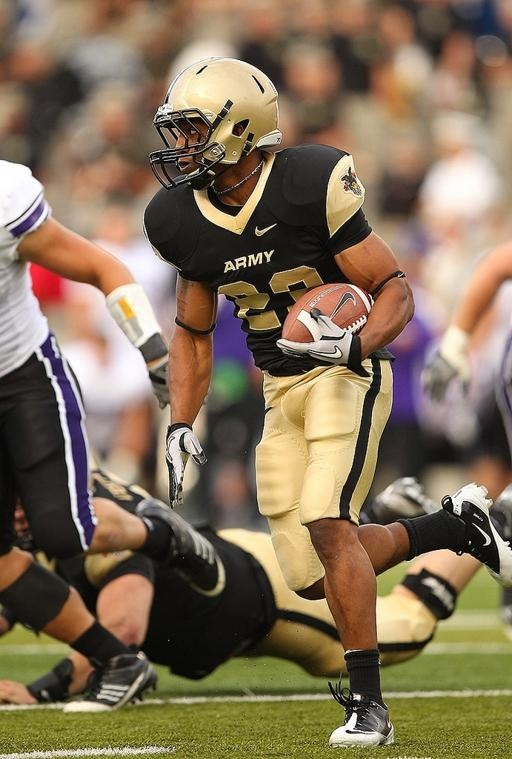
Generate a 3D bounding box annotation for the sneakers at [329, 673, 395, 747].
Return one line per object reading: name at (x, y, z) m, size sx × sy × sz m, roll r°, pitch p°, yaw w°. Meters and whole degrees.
sneakers at (0.173, 0.572, 1.413) m, size 0.080 × 0.175 × 0.109 m, roll -17°, pitch 68°, yaw 33°

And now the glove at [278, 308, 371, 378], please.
glove at (0.118, -0.080, 1.528) m, size 0.157 × 0.133 × 0.137 m, roll -3°, pitch 32°, yaw 2°

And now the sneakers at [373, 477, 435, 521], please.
sneakers at (0.498, 0.414, 2.780) m, size 0.222 × 0.156 × 0.082 m, roll 9°, pitch 47°, yaw -32°

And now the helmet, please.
helmet at (-0.077, -0.556, 1.772) m, size 0.313 × 0.232 × 0.215 m, roll -6°, pitch 18°, yaw -11°

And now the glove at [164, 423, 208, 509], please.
glove at (-0.119, 0.177, 1.713) m, size 0.048 × 0.123 × 0.157 m, roll 18°, pitch 57°, yaw -43°

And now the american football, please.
american football at (0.132, -0.113, 1.587) m, size 0.195 × 0.108 × 0.110 m, roll -20°, pitch 10°, yaw -35°
